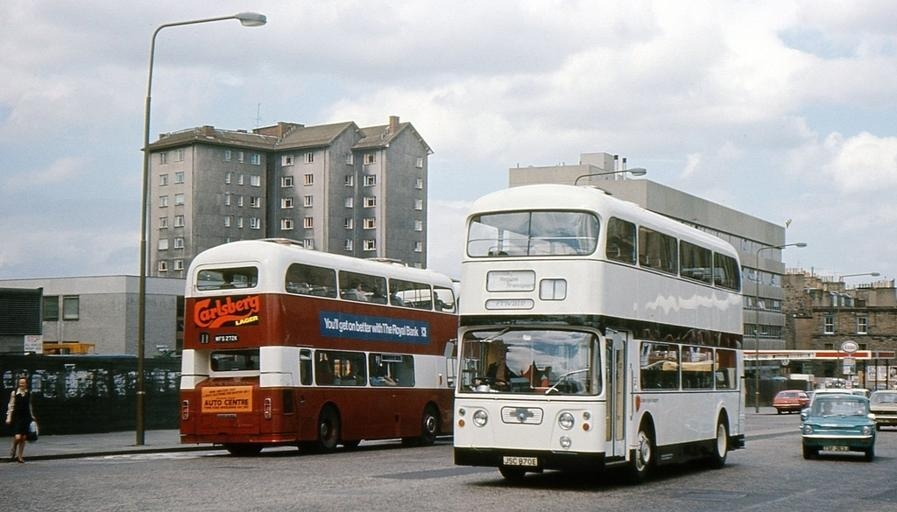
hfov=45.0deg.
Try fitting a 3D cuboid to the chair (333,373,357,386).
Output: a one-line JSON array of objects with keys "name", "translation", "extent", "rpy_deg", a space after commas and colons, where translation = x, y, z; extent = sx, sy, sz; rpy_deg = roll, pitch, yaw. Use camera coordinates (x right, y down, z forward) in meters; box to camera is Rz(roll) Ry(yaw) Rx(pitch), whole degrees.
[{"name": "chair", "translation": [-3.883, 4.673, 40.938], "extent": [0.728, 0.475, 0.386], "rpy_deg": [-1, 2, -11]}]
